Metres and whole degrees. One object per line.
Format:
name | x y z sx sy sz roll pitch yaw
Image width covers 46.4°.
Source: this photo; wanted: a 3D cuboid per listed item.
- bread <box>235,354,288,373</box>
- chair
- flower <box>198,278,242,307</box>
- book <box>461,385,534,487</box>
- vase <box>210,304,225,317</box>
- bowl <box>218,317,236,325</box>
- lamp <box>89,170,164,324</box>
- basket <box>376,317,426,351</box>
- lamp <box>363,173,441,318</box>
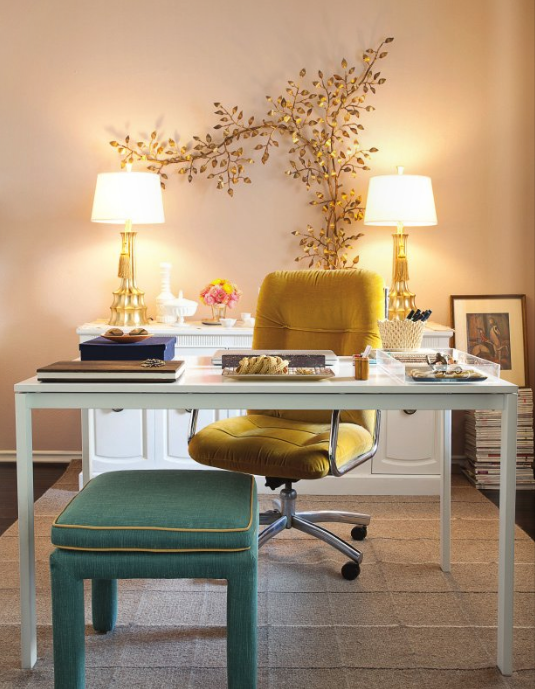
bread | -0.010 0.044 1.506 0.084 0.031 0.058 -4 -1 -20
chair | 0.067 0.220 2.039 0.599 0.902 0.578 3 8 20
flower | -0.227 -0.243 2.962 0.154 0.135 0.088 -1 -27 -7
book | 1.115 0.436 3.045 0.395 0.436 0.159 0 2 2
vase | -0.252 -0.166 3.184 0.079 0.077 0.078 0 -14 -7
bowl | -0.187 -0.110 2.955 0.048 0.023 0.046 1 8 0
lamp | -0.659 -0.482 3.008 0.318 0.795 0.441 -1 5 -8
basket | 0.397 -0.029 1.842 0.123 0.090 0.132 0 4 2
lamp | 0.632 -0.445 2.931 0.372 0.687 0.346 0 8 21
